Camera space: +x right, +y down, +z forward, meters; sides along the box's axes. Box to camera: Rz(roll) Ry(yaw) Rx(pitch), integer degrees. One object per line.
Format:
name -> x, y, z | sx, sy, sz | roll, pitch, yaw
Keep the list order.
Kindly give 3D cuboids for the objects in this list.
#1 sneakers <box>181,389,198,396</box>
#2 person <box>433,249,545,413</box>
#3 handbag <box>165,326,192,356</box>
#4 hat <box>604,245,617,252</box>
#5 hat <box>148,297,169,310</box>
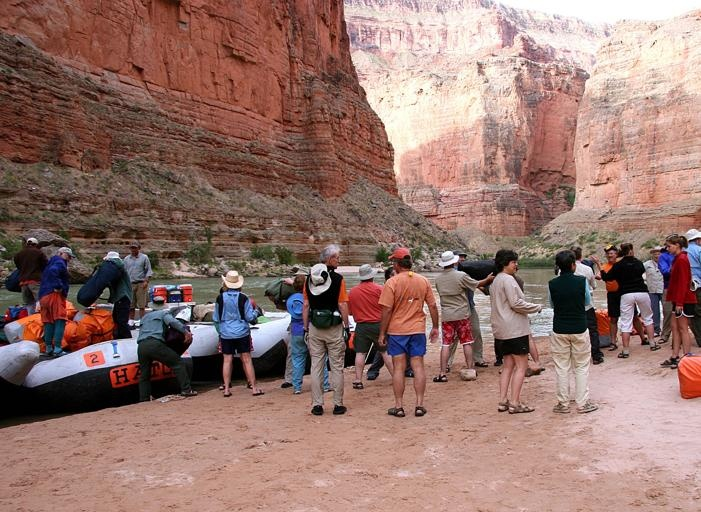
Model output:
sneakers -> -2.684, 2.266, 8.544 | 0.107, 0.085, 0.248 | 4, 2, 26
person -> 2.196, 0.989, 6.862 | 0.595, 2.177, 0.712 | -5, -4, 12
handbag -> -2.794, 1.371, 8.273 | 0.364, 0.453, 0.311 | -2, -4, -18
hat -> 4.862, -0.144, 9.530 | 0.207, 0.087, 0.212 | -2, 1, 7
hat -> -3.145, 0.756, 8.393 | 0.205, 0.235, 0.537 | -1, -4, -23
